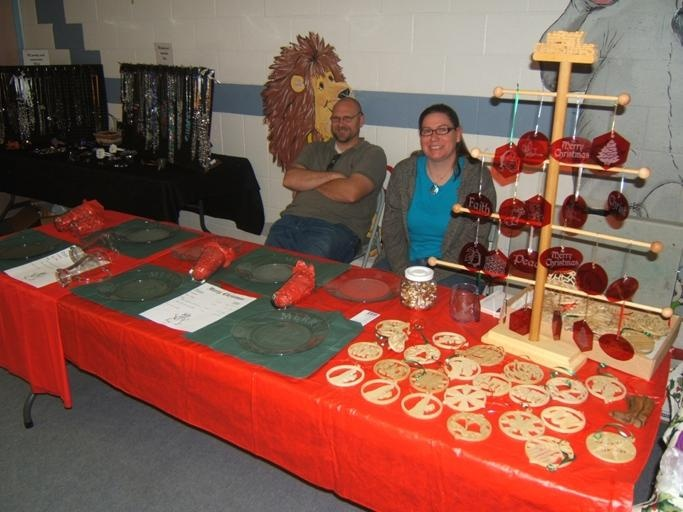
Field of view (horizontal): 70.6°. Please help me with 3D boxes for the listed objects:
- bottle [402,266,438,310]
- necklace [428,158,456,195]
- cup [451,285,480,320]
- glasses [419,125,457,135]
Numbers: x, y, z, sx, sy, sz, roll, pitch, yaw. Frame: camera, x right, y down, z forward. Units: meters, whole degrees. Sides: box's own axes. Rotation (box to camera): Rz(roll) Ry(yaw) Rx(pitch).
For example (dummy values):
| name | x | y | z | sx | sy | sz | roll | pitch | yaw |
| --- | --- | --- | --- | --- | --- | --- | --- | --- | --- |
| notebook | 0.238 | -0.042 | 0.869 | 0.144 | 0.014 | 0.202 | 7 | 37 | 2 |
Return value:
| name | x | y | z | sx | sy | sz | roll | pitch | yaw |
| --- | --- | --- | --- | --- | --- | --- | --- | --- | --- |
| bottle | 0.286 | 0.116 | 1.869 | 0.149 | 0.143 | 0.148 | 1 | 24 | 0 |
| necklace | 0.550 | -0.451 | 2.685 | 0.166 | 0.166 | 0.061 | 14 | 12 | 28 |
| cup | 0.453 | 0.172 | 1.775 | 0.091 | 0.120 | 0.134 | -3 | 15 | -12 |
| glasses | 0.504 | -0.663 | 2.556 | 0.174 | 0.054 | 0.061 | 2 | 21 | 1 |
